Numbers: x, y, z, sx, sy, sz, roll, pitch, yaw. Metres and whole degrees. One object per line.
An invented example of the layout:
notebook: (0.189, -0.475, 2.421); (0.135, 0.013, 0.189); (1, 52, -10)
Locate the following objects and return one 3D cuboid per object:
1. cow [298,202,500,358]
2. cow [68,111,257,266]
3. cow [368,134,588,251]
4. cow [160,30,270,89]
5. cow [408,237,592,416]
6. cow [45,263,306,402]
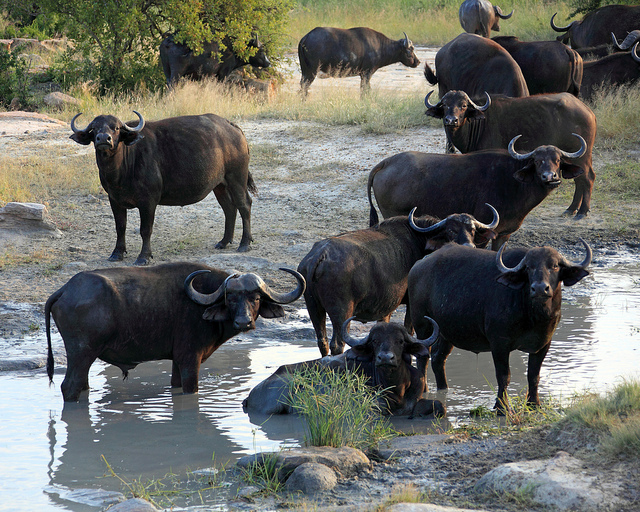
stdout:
cow: (0.874, 0.355, 12.633); (2.558, 1.552, 1.248); (-16, 15, -41)
cow: (-2.128, -1.027, 15.976); (0.963, 2.200, 3.467); (10, 12, 39)
cow: (2.125, -0.769, 14.236); (1.683, 1.137, 0.705); (-3, 7, -1)
cow: (-2.451, -4.789, 26.759); (2.887, 1.111, 2.141); (-7, 16, -18)
cow: (1.715, 0.741, 11.160); (1.056, 1.669, 2.549); (-4, 3, -29)
cow: (-1.599, 0.860, 11.851); (2.622, 1.483, 1.000); (-3, 1, -17)
